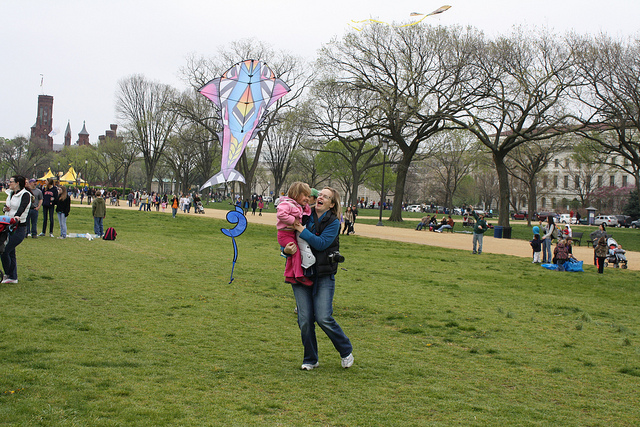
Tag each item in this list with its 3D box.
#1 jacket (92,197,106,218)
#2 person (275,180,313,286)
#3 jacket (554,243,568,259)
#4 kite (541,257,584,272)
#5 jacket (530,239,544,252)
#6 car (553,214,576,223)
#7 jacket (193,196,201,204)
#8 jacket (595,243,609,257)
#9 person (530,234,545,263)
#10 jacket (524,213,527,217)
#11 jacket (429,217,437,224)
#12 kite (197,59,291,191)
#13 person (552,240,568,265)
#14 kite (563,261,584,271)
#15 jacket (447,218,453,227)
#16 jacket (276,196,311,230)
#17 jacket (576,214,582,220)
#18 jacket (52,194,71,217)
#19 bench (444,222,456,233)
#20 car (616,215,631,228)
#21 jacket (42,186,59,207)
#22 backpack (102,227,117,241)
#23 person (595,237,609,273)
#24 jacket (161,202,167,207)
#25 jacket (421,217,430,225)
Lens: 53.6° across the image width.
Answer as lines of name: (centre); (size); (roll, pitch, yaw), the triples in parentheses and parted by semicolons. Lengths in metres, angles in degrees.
jacket: (-8.324, -0.258, 23.844); (0.416, 0.758, 0.497); (0, 10, -24)
person: (-0.523, 0.432, 12.569); (0.728, 2.109, 0.622); (3, 9, -4)
jacket: (8.758, 1.374, 23.009); (0.474, 0.464, 0.262); (8, 25, 28)
kite: (8.959, 1.832, 23.208); (1.328, 0.462, 1.026); (8, 10, 24)
jacket: (8.475, 1.228, 24.707); (0.421, 0.527, 0.315); (3, 9, -3)
car: (28.285, 0.566, 73.389); (1.646, 0.719, 0.961); (-2, 5, 12)
jacket: (-9.096, -0.995, 46.694); (0.450, 0.647, 0.228); (-1, 13, -13)
jacket: (10.236, 1.321, 23.071); (0.372, 0.510, 0.268); (7, 9, 22)
person: (8.616, 1.330, 25.171); (0.476, 1.261, 1.464); (7, 9, 20)
jacket: (25.819, 0.179, 79.788); (0.274, 0.367, 0.861); (6, 9, 13)
jacket: (7.536, 0.473, 42.488); (0.402, 0.546, 0.824); (5, 9, 9)
kite: (-1.989, -2.313, 15.757); (2.587, 4.261, 0.324); (-2, -36, 5)
person: (8.735, 1.397, 23.117); (0.368, 0.998, 0.570); (0, 9, -22)
kite: (9.231, 1.897, 23.111); (0.709, 0.313, 0.410); (7, 9, 19)
jacket: (8.676, 0.560, 42.148); (0.528, 0.399, 0.686); (-14, -18, 16)
jacket: (-0.560, -0.056, 12.454); (0.537, 0.726, 0.902); (-2, 4, 31)
jacket: (29.451, 0.258, 72.309); (0.422, 0.808, 1.420); (3, 9, 19)
jacket: (-9.167, -0.308, 22.513); (0.460, 0.803, 0.726); (0, 10, -24)
bench: (8.530, 0.970, 41.892); (0.444, 0.753, 0.534); (-2, -6, 35)
car: (33.948, 0.825, 70.919); (1.144, 1.050, 1.959); (4, 9, 43)
jacket: (-9.744, -0.611, 22.891); (0.633, 0.707, 0.365); (7, -20, 0)
backpack: (-7.856, 0.766, 23.708); (0.435, 0.429, 0.391); (-2, 6, -17)
person: (10.336, 1.461, 23.356); (0.405, 1.306, 1.131); (7, 9, 23)
jacket: (-13.336, -0.789, 54.010); (0.487, 0.321, 0.493); (-10, -8, 33)
jacket: (7.145, 0.454, 42.907); (0.704, 0.425, 0.688); (17, -2, -20)
